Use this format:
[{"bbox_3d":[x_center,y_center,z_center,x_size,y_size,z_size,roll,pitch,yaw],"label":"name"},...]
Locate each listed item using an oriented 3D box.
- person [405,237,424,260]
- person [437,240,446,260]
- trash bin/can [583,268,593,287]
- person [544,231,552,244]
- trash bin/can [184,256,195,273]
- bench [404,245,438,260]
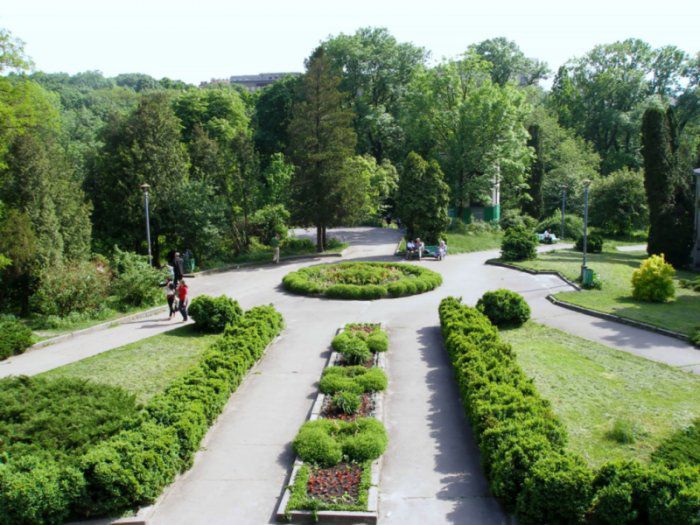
[{"bbox_3d":[4.231,-0.812,40.816,0.895,0.949,1.382,0,0,33],"label":"person"},{"bbox_3d":[5.867,-0.802,41.298,0.484,1.128,1.182,2,14,12],"label":"person"},{"bbox_3d":[12.225,0.758,32.906,0.516,0.830,0.725,5,14,21],"label":"trash bin/can"},{"bbox_3d":[15.836,-1.901,51.486,0.487,0.743,0.863,-8,15,-29],"label":"person"},{"bbox_3d":[-8.940,0.096,36.130,0.488,0.960,1.172,-4,14,-14],"label":"trash bin/can"},{"bbox_3d":[4.648,-0.630,41.022,1.751,1.070,0.896,0,1,-27],"label":"bench"}]
